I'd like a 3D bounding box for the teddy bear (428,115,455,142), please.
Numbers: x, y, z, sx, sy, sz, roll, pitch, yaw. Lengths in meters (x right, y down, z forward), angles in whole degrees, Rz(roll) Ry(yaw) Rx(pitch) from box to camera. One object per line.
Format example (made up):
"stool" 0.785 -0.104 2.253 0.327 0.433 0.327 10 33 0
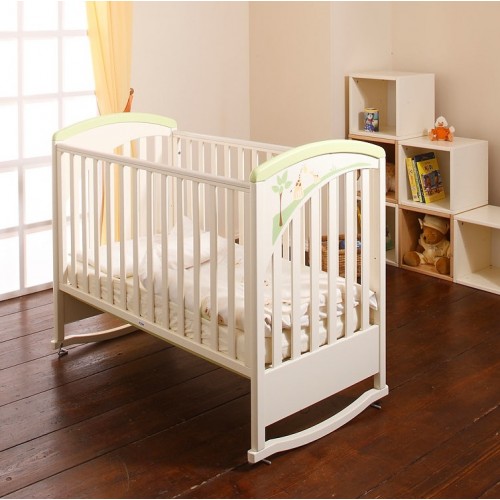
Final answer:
"teddy bear" 1.086 -0.695 3.065 0.115 0.143 0.183 -1 12 4

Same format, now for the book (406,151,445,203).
"book" 0.994 -0.413 3.138 0.276 0.283 0.066 -7 -1 -41

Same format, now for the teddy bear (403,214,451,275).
"teddy bear" 1.073 -0.040 3.122 0.248 0.309 0.301 -12 16 -29

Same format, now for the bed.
"bed" -0.153 0.034 2.060 1.202 0.963 0.758 13 17 41
